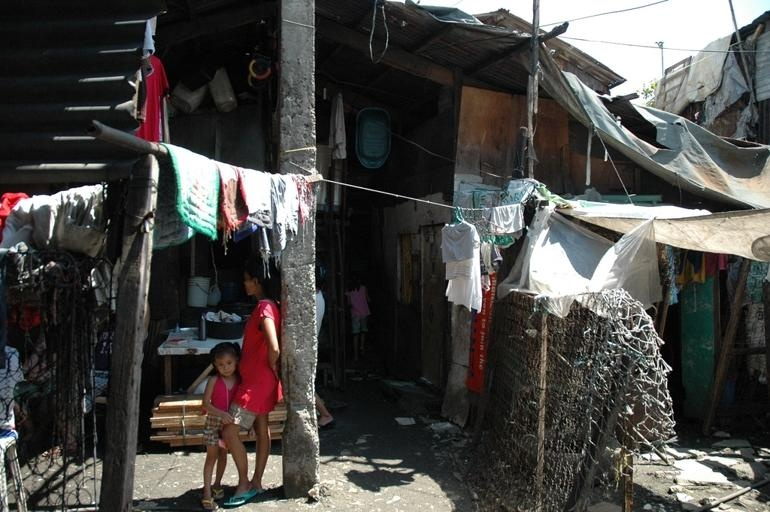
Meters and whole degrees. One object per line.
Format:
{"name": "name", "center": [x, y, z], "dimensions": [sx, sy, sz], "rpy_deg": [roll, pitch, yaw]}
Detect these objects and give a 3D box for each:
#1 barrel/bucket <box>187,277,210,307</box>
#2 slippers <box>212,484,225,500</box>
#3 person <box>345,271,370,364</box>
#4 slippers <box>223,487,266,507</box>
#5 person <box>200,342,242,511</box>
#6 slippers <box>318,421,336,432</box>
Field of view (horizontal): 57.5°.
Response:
{"name": "barrel/bucket", "center": [-3.189, 0.630, 12.317], "dimensions": [0.449, 0.485, 0.456], "rpy_deg": [1, -3, 0]}
{"name": "slippers", "center": [-2.133, 2.977, 8.914], "dimensions": [0.083, 0.112, 0.254], "rpy_deg": [2, 2, 6]}
{"name": "person", "center": [-0.621, 1.337, 15.580], "dimensions": [0.486, 1.820, 1.150], "rpy_deg": [2, 10, -2]}
{"name": "slippers", "center": [-1.805, 3.034, 8.849], "dimensions": [0.367, 0.082, 0.166], "rpy_deg": [2, -8, -40]}
{"name": "person", "center": [-2.076, 2.103, 8.826], "dimensions": [0.420, 1.970, 0.645], "rpy_deg": [1, 10, -8]}
{"name": "slippers", "center": [-0.922, 2.686, 11.174], "dimensions": [0.097, 0.132, 0.328], "rpy_deg": [-1, 7, 29]}
